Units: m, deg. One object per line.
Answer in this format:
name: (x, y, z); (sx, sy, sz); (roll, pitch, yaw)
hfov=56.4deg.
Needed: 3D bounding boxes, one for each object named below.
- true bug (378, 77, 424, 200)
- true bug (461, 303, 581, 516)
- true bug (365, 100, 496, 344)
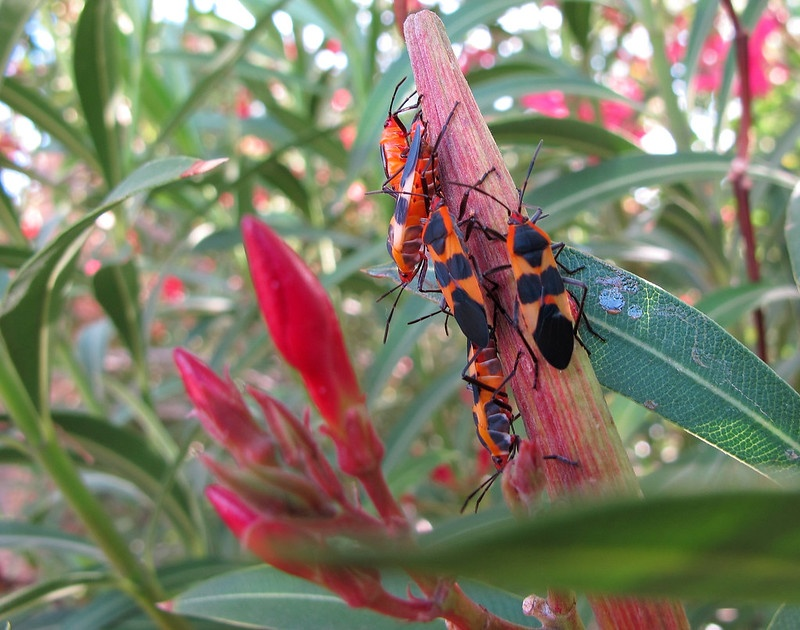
true bug: (-0.003, -0.373, 1.528); (0.064, 0.235, 0.167); (8, -17, -6)
true bug: (0.221, 0.184, 1.358); (0.067, 0.258, 0.183); (-14, 8, -30)
true bug: (0.072, -0.168, 1.324); (0.095, 0.260, 0.374); (-12, -65, -18)
